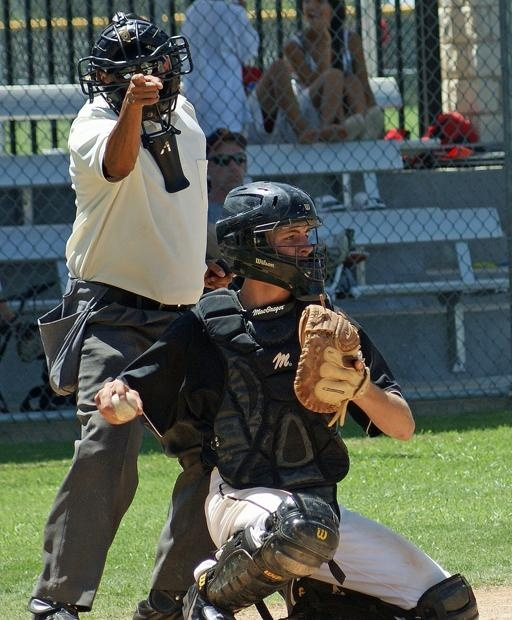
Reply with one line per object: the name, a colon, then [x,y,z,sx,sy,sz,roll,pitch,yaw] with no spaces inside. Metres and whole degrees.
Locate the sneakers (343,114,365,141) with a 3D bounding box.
sneakers: [0.611,-1.120,6.422,0.146,0.161,0.054,3,0,-28]

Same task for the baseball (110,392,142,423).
baseball: [-0.306,0.234,2.548,0.071,0.073,0.067,-27,-11,13]

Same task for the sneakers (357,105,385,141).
sneakers: [0.730,-1.175,6.523,0.173,0.200,0.066,6,-1,-30]

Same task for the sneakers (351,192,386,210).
sneakers: [0.685,-0.656,6.269,0.131,0.058,0.144,1,11,-17]

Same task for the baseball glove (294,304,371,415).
baseball glove: [0.168,0.147,2.587,0.179,0.322,0.151,-9,11,-20]

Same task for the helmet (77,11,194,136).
helmet: [-0.367,-0.775,3.422,0.403,0.355,0.416,-13,12,-4]

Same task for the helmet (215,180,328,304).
helmet: [0.033,-0.189,2.775,0.382,0.304,0.278,5,9,25]
